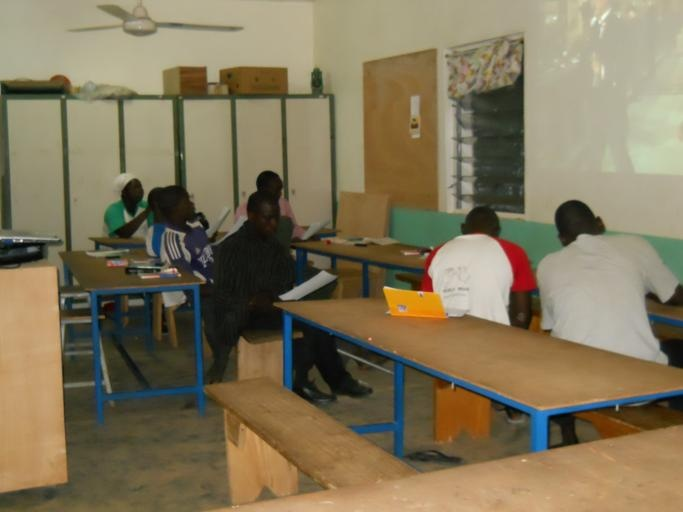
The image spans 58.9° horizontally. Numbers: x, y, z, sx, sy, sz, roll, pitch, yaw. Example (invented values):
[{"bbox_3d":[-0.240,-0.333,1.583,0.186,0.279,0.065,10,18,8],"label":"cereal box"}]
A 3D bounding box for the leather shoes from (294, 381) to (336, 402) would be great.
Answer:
[{"bbox_3d":[-0.191,0.966,4.296,0.319,0.138,0.124,1,1,-1],"label":"leather shoes"}]

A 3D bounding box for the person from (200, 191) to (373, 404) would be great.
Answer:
[{"bbox_3d":[-0.364,0.309,4.250,1.225,1.496,0.641,5,21,10],"label":"person"}]

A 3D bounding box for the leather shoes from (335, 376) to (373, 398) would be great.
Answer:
[{"bbox_3d":[0.094,0.978,4.487,0.269,0.116,0.135,-2,5,-4],"label":"leather shoes"}]

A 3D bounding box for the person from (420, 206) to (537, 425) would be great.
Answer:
[{"bbox_3d":[0.819,0.247,3.431,0.662,1.180,0.641,4,43,20],"label":"person"}]
